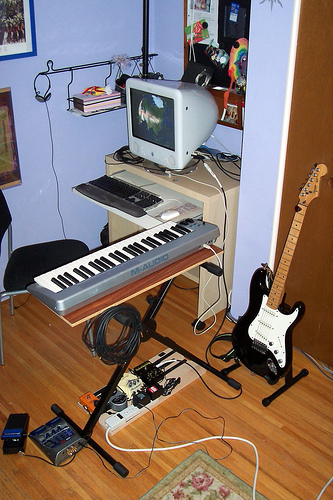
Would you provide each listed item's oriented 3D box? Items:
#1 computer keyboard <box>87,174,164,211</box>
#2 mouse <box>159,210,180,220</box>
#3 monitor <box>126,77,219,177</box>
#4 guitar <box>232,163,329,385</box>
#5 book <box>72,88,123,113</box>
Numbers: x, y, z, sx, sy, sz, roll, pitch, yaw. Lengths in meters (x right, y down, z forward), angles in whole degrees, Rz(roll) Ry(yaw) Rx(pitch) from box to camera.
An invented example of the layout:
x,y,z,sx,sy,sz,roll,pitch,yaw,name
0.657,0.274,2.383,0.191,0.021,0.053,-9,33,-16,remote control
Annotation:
x,y,z,sx,sy,sz,roll,pitch,yaw,name
-0.222,-0.330,2.202,0.208,0.055,0.519,-24,35,-38,computer keyboard
0.010,-0.175,1.919,0.068,0.023,0.050,-25,40,-36,mouse
0.050,-0.657,2.098,0.375,0.456,0.460,-19,35,-25,monitor
0.433,0.121,1.644,0.124,0.991,0.303,-15,28,-29,guitar
-0.417,-0.882,2.414,0.220,0.076,0.169,-20,38,-30,book
